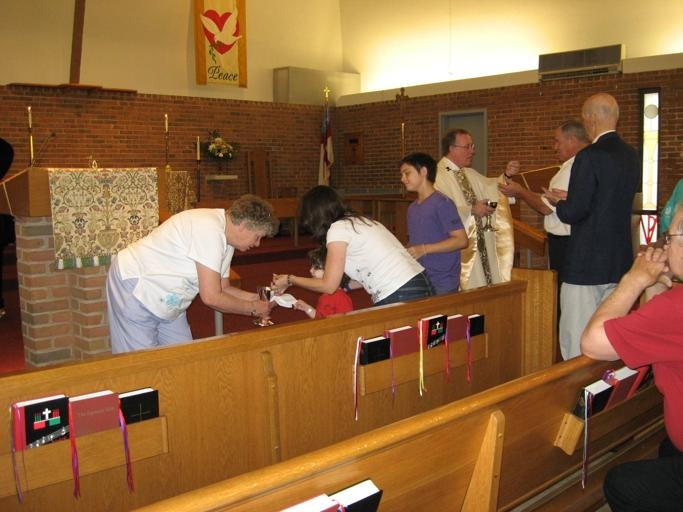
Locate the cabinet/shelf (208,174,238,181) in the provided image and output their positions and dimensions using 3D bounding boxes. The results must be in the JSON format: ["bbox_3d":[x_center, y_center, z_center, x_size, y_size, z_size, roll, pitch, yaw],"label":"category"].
[{"bbox_3d":[-2.402,-1.565,10.860,0.796,0.116,0.162,-2,-11,-14],"label":"cabinet/shelf"}]

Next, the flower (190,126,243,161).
[{"bbox_3d":[-2.545,-2.162,10.872,0.845,0.615,0.854,-1,-8,11],"label":"flower"}]

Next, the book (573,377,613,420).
[{"bbox_3d":[1.011,0.586,2.180,0.115,0.151,0.040,-10,29,-32],"label":"book"}]

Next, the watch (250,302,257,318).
[{"bbox_3d":[-0.494,0.297,3.020,0.022,0.063,0.055,-1,-24,-1],"label":"watch"}]

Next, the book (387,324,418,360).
[{"bbox_3d":[0.309,0.455,2.790,0.161,0.155,0.057,-9,9,-37],"label":"book"}]

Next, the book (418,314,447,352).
[{"bbox_3d":[0.481,0.417,2.894,0.177,0.177,0.067,-8,12,-36],"label":"book"}]

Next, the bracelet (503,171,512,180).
[{"bbox_3d":[1.361,-0.645,4.424,0.049,0.049,0.063,20,-5,0],"label":"bracelet"}]

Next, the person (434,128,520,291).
[{"bbox_3d":[1.067,-0.258,4.050,0.497,1.286,0.393,-11,27,17],"label":"person"}]

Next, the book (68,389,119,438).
[{"bbox_3d":[-0.963,0.609,2.077,0.182,0.176,0.059,-5,6,-37],"label":"book"}]

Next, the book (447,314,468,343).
[{"bbox_3d":[0.644,0.412,3.026,0.139,0.134,0.045,-9,11,-38],"label":"book"}]

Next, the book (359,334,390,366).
[{"bbox_3d":[0.162,0.483,2.692,0.141,0.138,0.055,-5,9,-38],"label":"book"}]

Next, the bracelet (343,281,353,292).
[{"bbox_3d":[0.033,0.195,3.397,0.050,0.026,0.069,-9,38,-18],"label":"bracelet"}]

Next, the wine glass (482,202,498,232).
[{"bbox_3d":[1.076,-0.286,3.930,0.110,0.232,0.233,2,12,15],"label":"wine glass"}]

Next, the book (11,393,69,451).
[{"bbox_3d":[-1.105,0.642,2.033,0.198,0.203,0.199,-2,-6,-27],"label":"book"}]

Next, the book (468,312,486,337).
[{"bbox_3d":[0.774,0.406,3.119,0.123,0.126,0.051,-8,13,-34],"label":"book"}]

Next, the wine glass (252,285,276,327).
[{"bbox_3d":[-0.434,0.292,3.053,0.172,0.316,0.220,0,0,-11],"label":"wine glass"}]

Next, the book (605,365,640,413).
[{"bbox_3d":[1.170,0.546,2.250,0.047,0.186,0.206,36,0,39],"label":"book"}]
